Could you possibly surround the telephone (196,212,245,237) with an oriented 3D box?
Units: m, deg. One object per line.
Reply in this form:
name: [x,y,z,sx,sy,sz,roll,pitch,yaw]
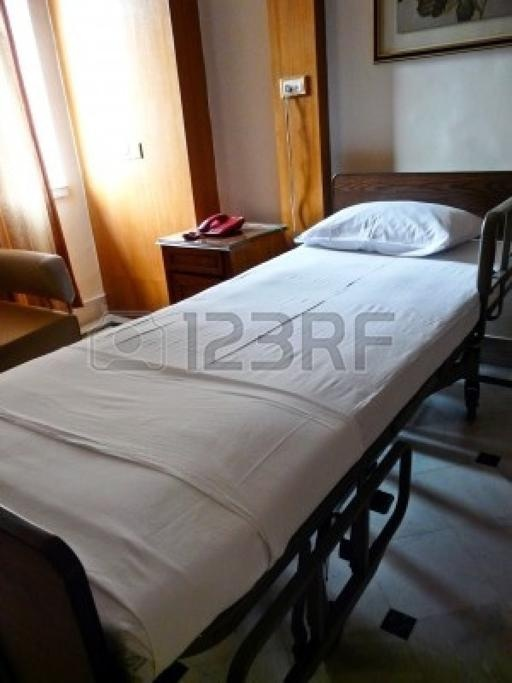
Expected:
telephone: [-0.172,-0.659,2.549,0.152,0.077,0.216,18,33,33]
